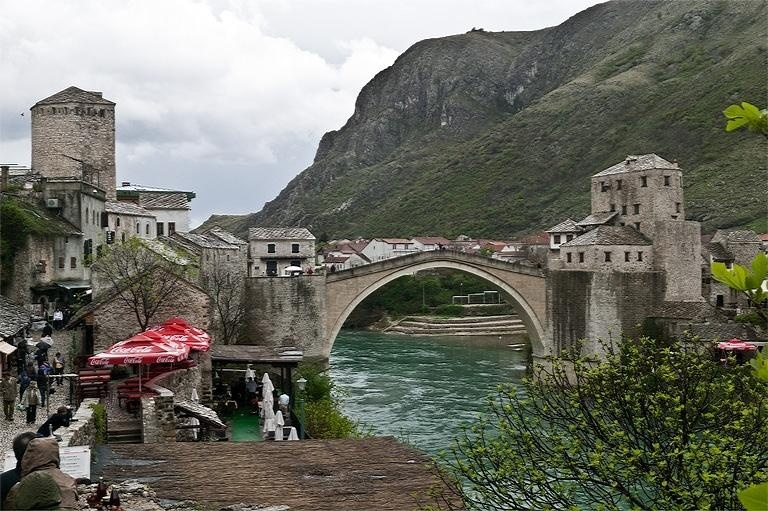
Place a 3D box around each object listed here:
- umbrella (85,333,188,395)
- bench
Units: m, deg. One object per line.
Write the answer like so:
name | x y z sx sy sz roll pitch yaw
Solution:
umbrella | -9.985 3.995 38.889 3.884 1.233 2.105 1 13 -10
bench | -11.142 5.678 40.322 3.171 1.622 2.324 1 -4 -12
